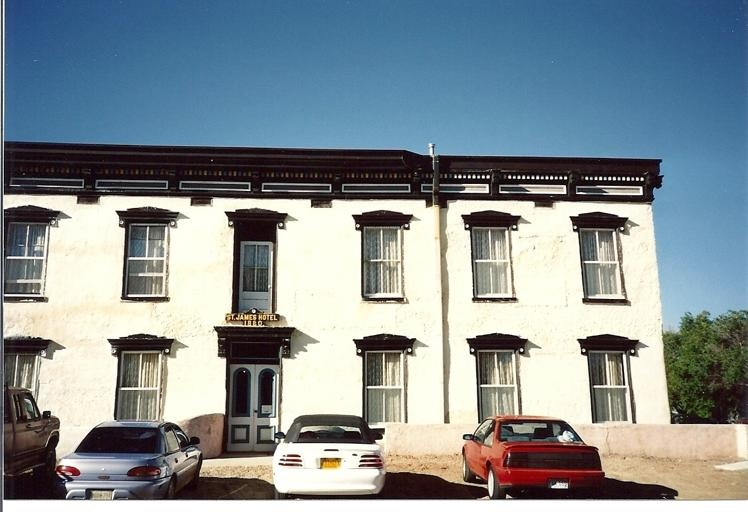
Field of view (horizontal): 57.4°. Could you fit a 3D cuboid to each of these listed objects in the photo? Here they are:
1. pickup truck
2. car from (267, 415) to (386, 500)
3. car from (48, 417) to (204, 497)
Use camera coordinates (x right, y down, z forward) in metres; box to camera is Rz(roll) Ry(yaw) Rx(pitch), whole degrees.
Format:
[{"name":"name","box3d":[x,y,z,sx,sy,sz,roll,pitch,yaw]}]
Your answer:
[{"name":"pickup truck","box3d":[-9.319,5.042,18.557,1.355,2.952,1.681,5,-13,-24]},{"name":"car","box3d":[-1.155,5.104,17.194,1.969,1.303,3.848,0,-5,-2]},{"name":"car","box3d":[-5.967,4.988,16.745,3.214,1.830,1.761,5,-13,-26]}]
